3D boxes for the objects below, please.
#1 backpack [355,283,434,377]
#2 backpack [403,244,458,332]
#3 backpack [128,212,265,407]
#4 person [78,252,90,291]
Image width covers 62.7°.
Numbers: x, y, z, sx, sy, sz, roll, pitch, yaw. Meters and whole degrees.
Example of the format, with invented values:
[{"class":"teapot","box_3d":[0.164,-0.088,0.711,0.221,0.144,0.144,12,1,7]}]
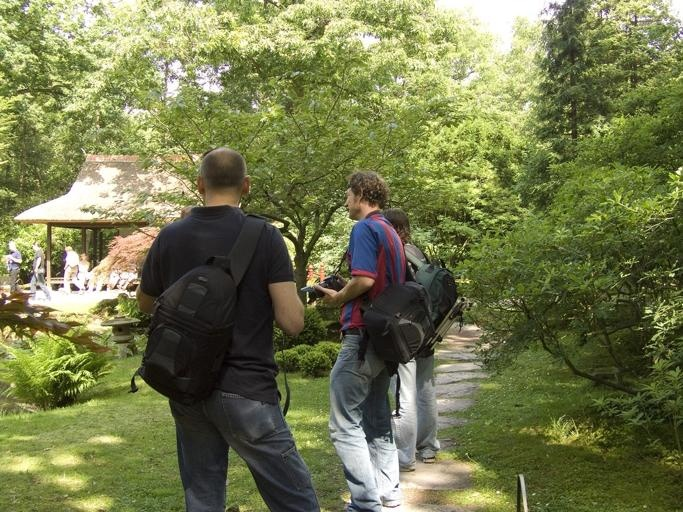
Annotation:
[{"class":"backpack","box_3d":[0.400,0.462,4.090,0.504,0.601,0.681,12,10,43]},{"class":"backpack","box_3d":[0.654,0.258,4.828,0.659,0.588,0.433,-9,35,-19]},{"class":"backpack","box_3d":[-0.759,0.276,3.099,0.616,1.052,0.219,5,-3,-14]},{"class":"person","box_3d":[-10.512,0.674,22.978,0.410,1.160,0.822,5,-4,-25]}]
